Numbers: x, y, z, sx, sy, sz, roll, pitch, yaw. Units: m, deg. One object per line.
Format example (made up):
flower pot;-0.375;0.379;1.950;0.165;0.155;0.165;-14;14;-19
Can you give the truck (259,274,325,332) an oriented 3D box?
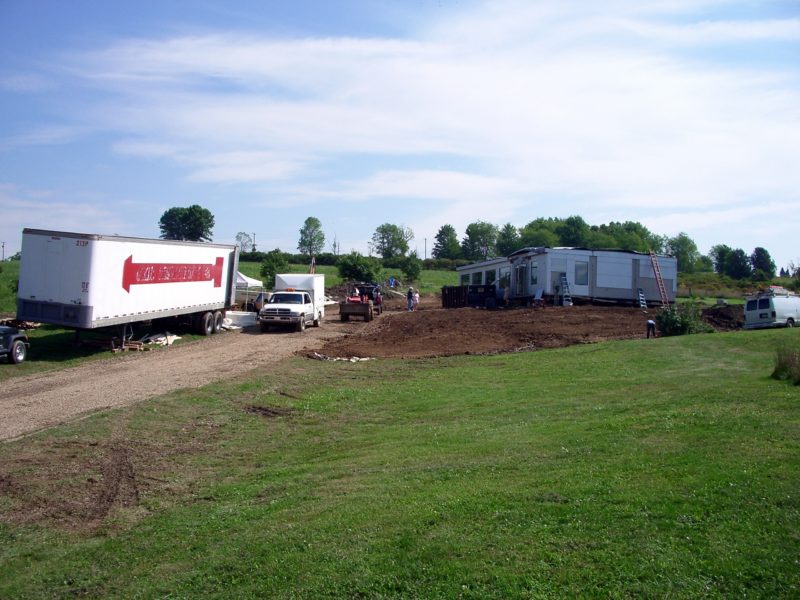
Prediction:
truck;-5.707;0.077;33.849;1.855;2.038;4.196;-1;-1;8

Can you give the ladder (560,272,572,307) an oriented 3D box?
ladder;9.929;-0.513;40.635;0.653;2.342;0.635;1;-35;4

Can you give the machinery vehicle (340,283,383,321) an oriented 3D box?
machinery vehicle;-2.455;0.253;41.926;1.368;1.381;4.407;1;3;6
